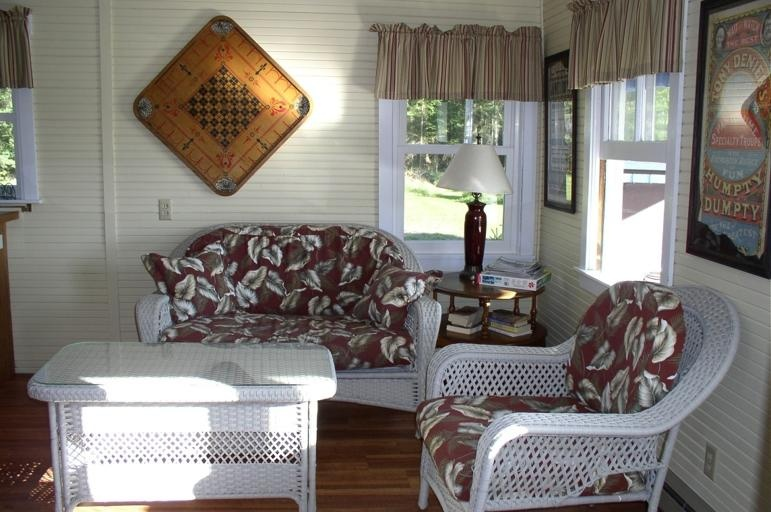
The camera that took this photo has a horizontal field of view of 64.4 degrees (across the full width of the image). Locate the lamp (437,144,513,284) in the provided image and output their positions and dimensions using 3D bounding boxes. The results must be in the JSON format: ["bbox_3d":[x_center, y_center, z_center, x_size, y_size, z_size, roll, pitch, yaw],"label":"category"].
[{"bbox_3d":[0.684,-0.341,4.294,0.439,1.005,0.574,7,14,37],"label":"lamp"}]

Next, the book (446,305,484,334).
[{"bbox_3d":[0.569,0.447,4.295,0.171,0.076,0.228,3,5,23],"label":"book"}]

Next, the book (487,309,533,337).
[{"bbox_3d":[0.837,0.464,4.230,0.171,0.061,0.224,-2,6,-26],"label":"book"}]

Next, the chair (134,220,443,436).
[{"bbox_3d":[-0.636,0.367,4.160,1.877,0.876,1.020,1,21,-5],"label":"chair"}]
